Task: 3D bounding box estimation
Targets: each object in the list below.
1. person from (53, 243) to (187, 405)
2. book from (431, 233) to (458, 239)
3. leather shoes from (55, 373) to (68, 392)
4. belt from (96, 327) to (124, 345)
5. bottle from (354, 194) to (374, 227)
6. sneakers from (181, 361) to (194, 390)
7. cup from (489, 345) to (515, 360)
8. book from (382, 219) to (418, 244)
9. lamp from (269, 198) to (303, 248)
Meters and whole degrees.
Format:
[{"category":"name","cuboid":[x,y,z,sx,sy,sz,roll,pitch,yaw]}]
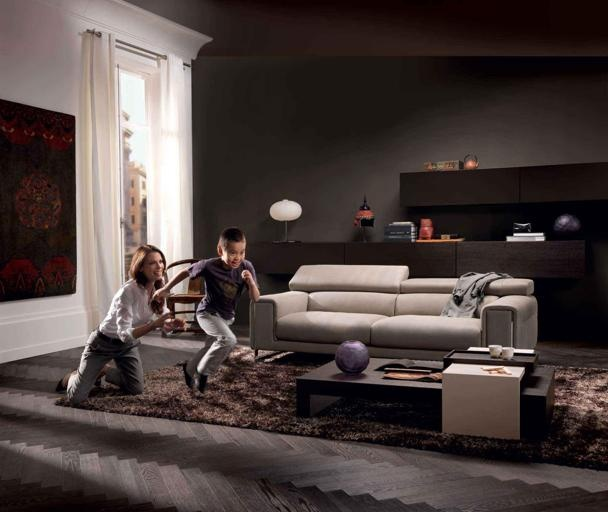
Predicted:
[{"category":"person","cuboid":[-1.158,0.440,3.011,0.787,1.089,0.421,16,5,19]},{"category":"book","cuboid":[1.582,-0.230,5.363,0.293,0.082,0.270,4,2,18]},{"category":"leather shoes","cuboid":[-1.632,0.847,3.264,0.088,0.107,0.113,-3,-8,28]},{"category":"belt","cuboid":[-1.196,0.497,2.932,0.111,0.030,0.116,12,-20,39]},{"category":"bottle","cuboid":[0.719,-0.549,5.700,0.243,0.384,0.291,3,2,6]},{"category":"sneakers","cuboid":[-0.770,0.800,3.224,0.072,0.218,0.078,-9,5,-30]},{"category":"cup","cuboid":[1.052,0.499,2.560,0.101,0.048,0.073,2,-3,15]},{"category":"book","cuboid":[1.060,-0.279,5.337,0.245,0.170,0.254,1,1,32]},{"category":"lamp","cuboid":[-0.218,-0.407,5.871,0.464,0.724,0.487,-1,-6,3]}]
